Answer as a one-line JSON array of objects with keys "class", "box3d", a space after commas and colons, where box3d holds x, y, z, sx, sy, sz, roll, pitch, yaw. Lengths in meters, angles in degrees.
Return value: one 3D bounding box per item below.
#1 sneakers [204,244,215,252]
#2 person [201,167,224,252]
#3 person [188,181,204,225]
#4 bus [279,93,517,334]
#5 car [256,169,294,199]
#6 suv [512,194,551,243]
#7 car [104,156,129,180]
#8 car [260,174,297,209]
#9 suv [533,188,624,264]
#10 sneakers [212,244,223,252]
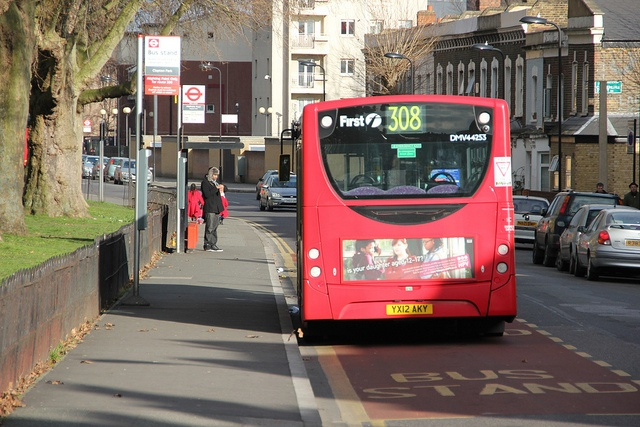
[{"class": "sneakers", "box3d": [-3.378, 1.033, 23.845, 0.404, 0.191, 0.153, 0, 4, 0]}, {"class": "person", "box3d": [-3.302, -0.125, 23.915, 0.700, 2.577, 0.949, 0, 7, -9]}, {"class": "person", "box3d": [-4.005, -0.398, 24.667, 0.624, 1.114, 0.330, 5, 26, 6]}, {"class": "bus", "box3d": [1.329, 0.291, 15.563, 4.021, 3.996, 6.970, -2, -4, 5]}, {"class": "car", "box3d": [-3.083, -1.847, 47.320, 1.467, 1.382, 2.748, 0, 7, -8]}, {"class": "suv", "box3d": [8.202, 0.148, 30.274, 1.549, 1.520, 2.753, 1, -5, 0]}, {"class": "car", "box3d": [-19.058, -4.176, 71.148, 1.891, 1.852, 3.396, 0, 8, -7]}, {"class": "car", "box3d": [-2.453, -1.243, 43.701, 1.475, 1.305, 2.750, 0, -4, -14]}, {"class": "suv", "box3d": [8.028, 0.241, 25.673, 1.676, 1.776, 3.186, -1, 4, -6]}, {"class": "sneakers", "box3d": [-3.194, 1.060, 23.985, 0.398, 0.184, 0.140, 0, 3, -3]}]
